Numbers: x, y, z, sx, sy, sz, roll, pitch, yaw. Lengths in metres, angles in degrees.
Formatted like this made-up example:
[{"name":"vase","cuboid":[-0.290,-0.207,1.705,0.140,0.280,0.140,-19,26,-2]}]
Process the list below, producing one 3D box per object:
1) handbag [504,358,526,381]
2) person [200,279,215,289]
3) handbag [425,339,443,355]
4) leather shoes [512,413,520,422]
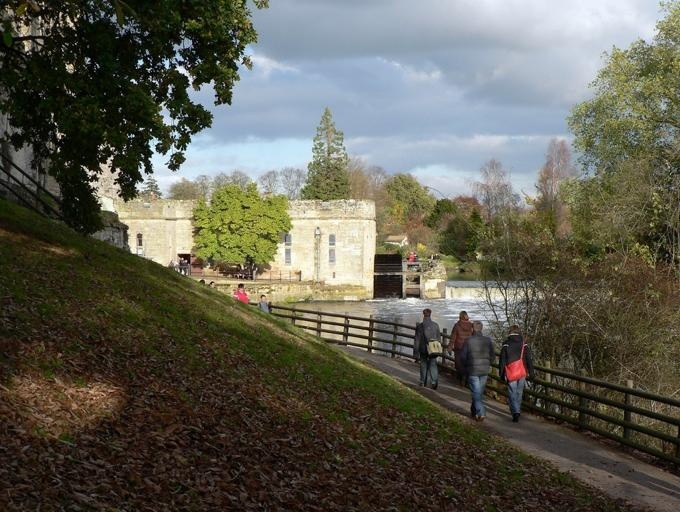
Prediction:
[{"name":"handbag","cuboid":[4.052,2.640,16.944,0.412,0.438,0.168,-16,-2,2]},{"name":"person","cuboid":[-5.684,1.209,31.241,0.702,0.358,0.935,1,0,15]},{"name":"handbag","cuboid":[2.493,2.463,19.309,0.427,0.439,0.254,12,1,-8]},{"name":"leather shoes","cuboid":[4.180,3.866,17.441,0.124,0.215,0.209,-1,3,8]}]
